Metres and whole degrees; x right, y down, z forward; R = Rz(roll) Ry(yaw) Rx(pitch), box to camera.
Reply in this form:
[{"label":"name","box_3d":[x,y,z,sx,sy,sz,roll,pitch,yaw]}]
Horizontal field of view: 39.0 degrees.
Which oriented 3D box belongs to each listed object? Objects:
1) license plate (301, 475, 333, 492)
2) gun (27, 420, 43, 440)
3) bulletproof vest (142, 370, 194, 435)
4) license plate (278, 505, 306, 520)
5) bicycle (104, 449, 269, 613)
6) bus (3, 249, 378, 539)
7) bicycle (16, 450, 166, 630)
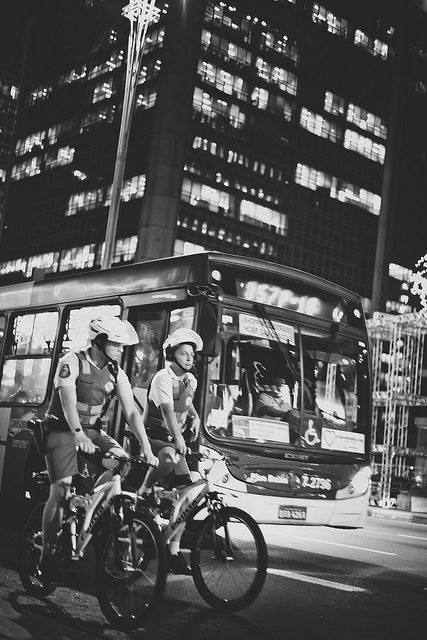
[{"label":"license plate","box_3d":[1.129,1.767,6.556,0.483,0.160,0.050,12,-11,-38]},{"label":"gun","box_3d":[-1.569,0.963,5.318,0.100,0.133,0.513,8,-8,-18]},{"label":"bulletproof vest","box_3d":[-0.432,0.744,5.738,0.409,0.652,0.462,-7,-16,45]},{"label":"license plate","box_3d":[0.815,1.996,6.277,0.388,0.142,0.037,12,-10,-37]},{"label":"bicycle","box_3d":[-0.278,1.494,4.470,1.678,1.024,0.719,-13,-29,43]},{"label":"bus","box_3d":[-1.110,0.599,8.718,2.159,2.756,6.384,4,-2,-37]},{"label":"bicycle","box_3d":[-0.887,1.479,4.220,1.686,1.070,0.748,-10,-22,44]}]
